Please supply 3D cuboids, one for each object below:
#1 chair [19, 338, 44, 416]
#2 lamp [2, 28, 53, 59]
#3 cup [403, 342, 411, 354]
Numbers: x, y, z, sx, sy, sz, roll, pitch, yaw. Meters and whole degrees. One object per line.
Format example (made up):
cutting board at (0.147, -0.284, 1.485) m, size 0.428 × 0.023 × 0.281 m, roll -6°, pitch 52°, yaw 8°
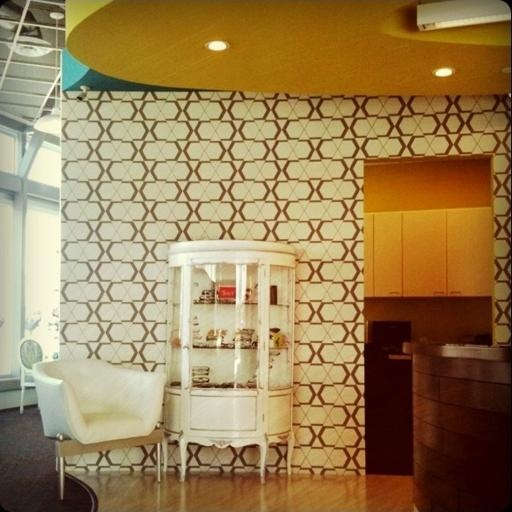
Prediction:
chair at (-3.257, 1.700, 8.256) m, size 0.375 × 1.135 × 0.380 m, roll 1°, pitch 11°, yaw -28°
lamp at (-2.341, -2.250, 5.956) m, size 0.394 × 0.126 × 0.422 m, roll 5°, pitch -7°, yaw -28°
cup at (1.059, 0.654, 3.951) m, size 0.047 × 0.067 × 0.222 m, roll 0°, pitch -6°, yaw 12°
